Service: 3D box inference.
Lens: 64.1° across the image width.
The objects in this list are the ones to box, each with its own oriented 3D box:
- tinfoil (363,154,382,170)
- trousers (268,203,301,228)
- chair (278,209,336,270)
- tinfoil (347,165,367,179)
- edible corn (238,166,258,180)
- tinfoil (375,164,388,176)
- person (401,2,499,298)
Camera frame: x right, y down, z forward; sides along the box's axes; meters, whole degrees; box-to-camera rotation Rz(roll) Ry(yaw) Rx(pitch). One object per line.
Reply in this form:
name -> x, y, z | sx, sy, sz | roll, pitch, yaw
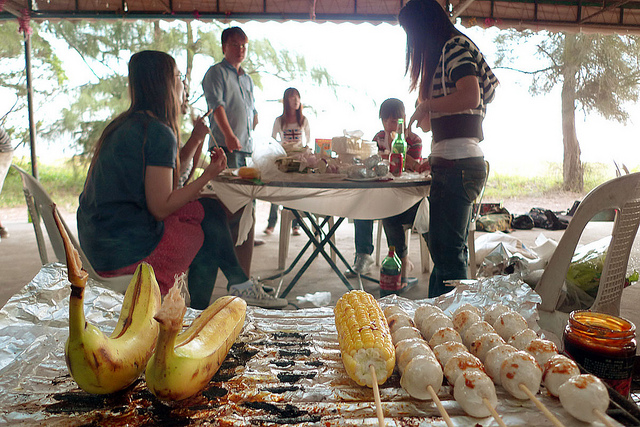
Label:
tinfoil -> 0.382, -0.376, 3.719 | 0.128, 0.053, 0.078 | -29, 45, -7
trousers -> -0.492, 0.049, 6.988 | 0.352, 0.492, 0.363 | 1, -5, -4
chair -> -0.127, 0.252, 5.378 | 0.588, 0.601, 0.600 | 1, 8, 2
tinfoil -> 0.268, -0.298, 3.672 | 0.088, 0.069, 0.103 | -2, 4, -6
edible corn -> -0.533, -0.299, 3.770 | 0.110, 0.046, 0.086 | -14, 26, -39
tinfoil -> 0.443, -0.308, 3.677 | 0.077, 0.029, 0.077 | 1, -15, -4
person -> 0.886, -0.420, 3.640 | 0.645, 2.075, 0.326 | 3, 7, 19
